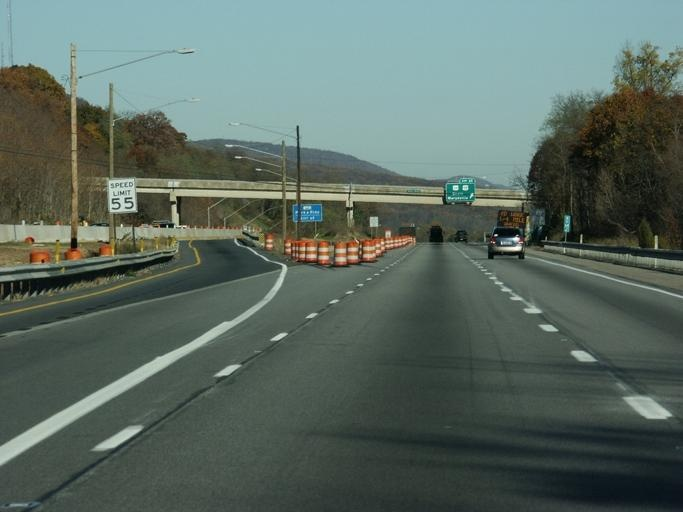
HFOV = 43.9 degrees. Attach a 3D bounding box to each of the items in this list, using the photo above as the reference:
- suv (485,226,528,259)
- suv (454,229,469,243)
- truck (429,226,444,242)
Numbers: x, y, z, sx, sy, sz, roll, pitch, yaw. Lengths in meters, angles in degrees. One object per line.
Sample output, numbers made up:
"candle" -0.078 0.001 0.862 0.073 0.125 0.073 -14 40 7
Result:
"suv" 8.777 -0.745 45.437 1.852 1.706 1.292 2 6 29
"suv" 16.563 -2.952 117.928 1.387 1.382 2.265 -1 -3 4
"truck" 13.425 -3.308 121.643 2.117 3.299 2.144 0 -1 -2
